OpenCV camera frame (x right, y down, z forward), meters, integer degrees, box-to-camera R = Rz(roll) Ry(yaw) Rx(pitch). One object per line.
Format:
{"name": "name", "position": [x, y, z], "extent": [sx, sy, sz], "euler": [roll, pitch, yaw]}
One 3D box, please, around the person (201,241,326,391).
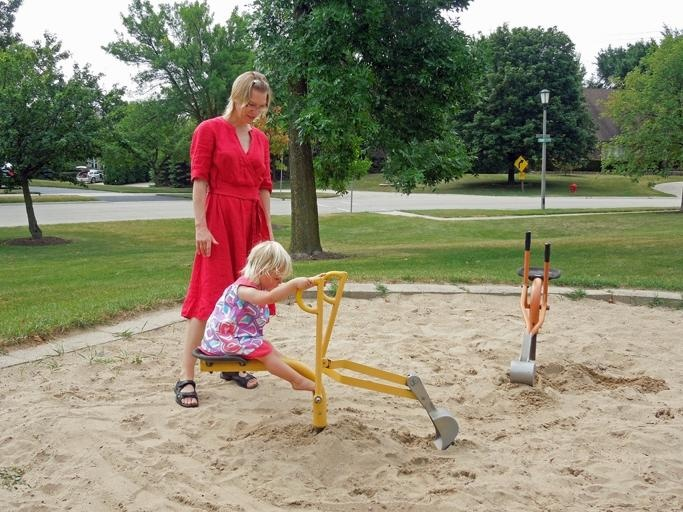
{"name": "person", "position": [-0.761, 0.540, 6.601], "extent": [1.103, 1.328, 0.508], "euler": [1, 12, 5]}

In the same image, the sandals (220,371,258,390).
{"name": "sandals", "position": [-1.017, 1.233, 7.362], "extent": [0.342, 0.115, 0.162], "euler": [5, 13, 18]}
